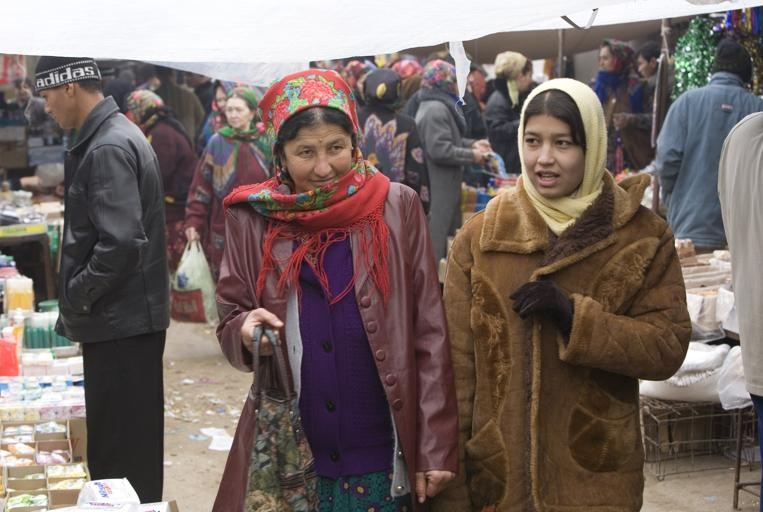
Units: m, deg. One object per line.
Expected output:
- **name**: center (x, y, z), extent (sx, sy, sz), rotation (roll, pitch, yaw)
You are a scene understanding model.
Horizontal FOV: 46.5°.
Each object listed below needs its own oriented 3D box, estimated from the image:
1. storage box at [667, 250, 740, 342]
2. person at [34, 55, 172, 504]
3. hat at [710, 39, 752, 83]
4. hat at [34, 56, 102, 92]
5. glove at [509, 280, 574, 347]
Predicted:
- **storage box**: center (2.461, 0.266, 6.607), extent (0.639, 0.819, 0.281), rotation (-12, -41, 36)
- **person**: center (-1.686, 0.163, 5.561), extent (0.711, 2.262, 0.477), rotation (-4, 2, -15)
- **hat**: center (2.972, -1.678, 7.558), extent (0.269, 0.290, 0.379), rotation (7, -2, 19)
- **hat**: center (-1.969, -1.157, 5.594), extent (0.353, 0.163, 0.263), rotation (-2, 0, -9)
- **glove**: center (0.764, 0.229, 4.172), extent (0.278, 0.311, 0.143), rotation (-13, 36, 29)
